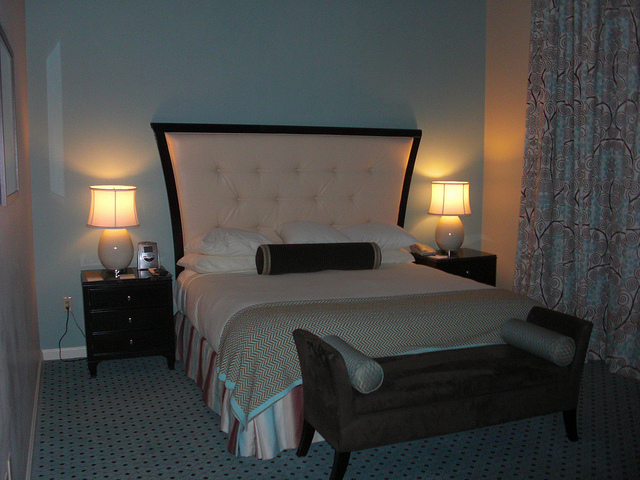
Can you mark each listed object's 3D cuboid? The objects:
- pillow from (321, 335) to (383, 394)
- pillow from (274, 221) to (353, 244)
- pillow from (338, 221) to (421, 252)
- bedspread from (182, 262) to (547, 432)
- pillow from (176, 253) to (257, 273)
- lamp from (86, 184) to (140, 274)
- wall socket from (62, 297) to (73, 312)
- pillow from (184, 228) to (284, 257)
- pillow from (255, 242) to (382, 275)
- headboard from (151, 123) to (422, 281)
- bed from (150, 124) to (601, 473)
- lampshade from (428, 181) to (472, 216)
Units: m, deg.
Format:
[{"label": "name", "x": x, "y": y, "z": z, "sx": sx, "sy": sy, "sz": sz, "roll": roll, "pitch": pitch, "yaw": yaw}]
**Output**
[{"label": "pillow", "x": 0.142, "y": 0.654, "z": 2.649, "sx": 0.161, "sy": 0.177, "sz": 0.529, "roll": -16, "pitch": 13, "yaw": -21}, {"label": "pillow", "x": -0.067, "y": -0.087, "z": 4.151, "sx": 0.573, "sy": 0.181, "sz": 0.479, "roll": 4, "pitch": 7, "yaw": -27}, {"label": "pillow", "x": 0.464, "y": -0.064, "z": 4.422, "sx": 0.688, "sy": 0.245, "sz": 0.554, "roll": 2, "pitch": 6, "yaw": -28}, {"label": "bedspread", "x": 0.072, "y": 0.449, "z": 3.814, "sx": 2.175, "sy": 0.863, "sz": 1.963, "roll": 2, "pitch": 8, "yaw": -22}, {"label": "pillow", "x": -0.860, "y": 0.165, "z": 3.974, "sx": 0.691, "sy": 0.133, "sz": 0.517, "roll": 2, "pitch": 7, "yaw": -29}, {"label": "lamp", "x": -1.634, "y": -0.078, "z": 3.931, "sx": 0.356, "sy": 0.680, "sz": 0.376, "roll": 10, "pitch": 11, "yaw": 33}, {"label": "wall socket", "x": -2.065, "y": 0.533, "z": 4.039, "sx": 0.071, "sy": 0.123, "sz": 0.036, "roll": -7, "pitch": 13, "yaw": -30}, {"label": "pillow", "x": -0.694, "y": 0.028, "z": 3.929, "sx": 0.770, "sy": 0.214, "sz": 0.522, "roll": 3, "pitch": 7, "yaw": -28}, {"label": "pillow", "x": 0.009, "y": 0.158, "z": 3.979, "sx": 1.023, "sy": 0.305, "sz": 0.305, "roll": -3, "pitch": -14, "yaw": 6}, {"label": "headboard", "x": -0.273, "y": -0.306, "z": 4.636, "sx": 2.350, "sy": 1.878, "sz": 0.192, "roll": -1, "pitch": 40, "yaw": -7}, {"label": "bed", "x": 0.044, "y": 0.396, "z": 3.704, "sx": 2.328, "sy": 1.944, "sz": 2.737, "roll": -2, "pitch": 8, "yaw": -19}, {"label": "lampshade", "x": 1.215, "y": -0.383, "z": 4.780, "sx": 0.420, "sy": 0.349, "sz": 0.438, "roll": 2, "pitch": 1, "yaw": 31}]
